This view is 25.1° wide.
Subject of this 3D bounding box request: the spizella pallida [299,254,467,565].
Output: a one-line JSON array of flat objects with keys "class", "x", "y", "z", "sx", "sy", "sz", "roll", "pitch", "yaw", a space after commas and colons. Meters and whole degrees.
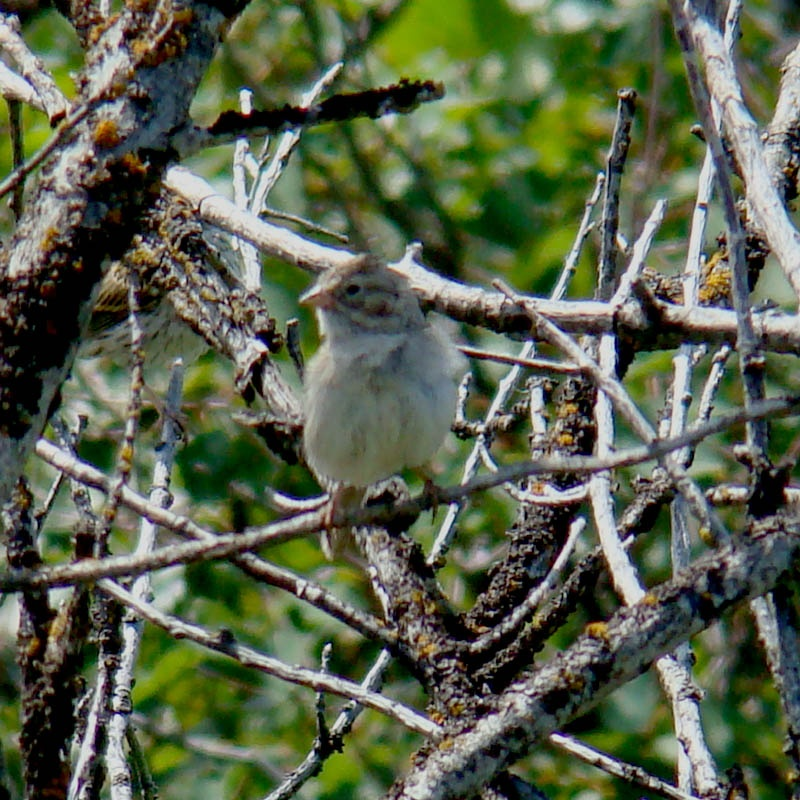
[{"class": "spizella pallida", "x": -0.099, "y": -0.059, "z": 6.548, "sx": 0.501, "sy": 0.853, "sz": 1.111, "roll": -9, "pitch": -47, "yaw": 2}]
